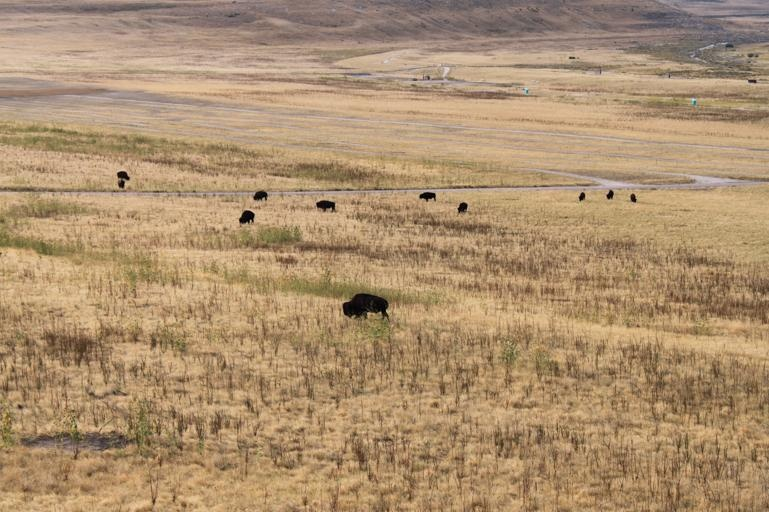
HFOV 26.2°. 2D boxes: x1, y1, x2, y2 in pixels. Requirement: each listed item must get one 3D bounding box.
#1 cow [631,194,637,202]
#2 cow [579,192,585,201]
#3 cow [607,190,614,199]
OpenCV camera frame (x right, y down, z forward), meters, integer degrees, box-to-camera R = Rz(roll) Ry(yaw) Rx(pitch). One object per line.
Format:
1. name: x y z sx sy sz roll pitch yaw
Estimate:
1. cow: 59.546 -13.842 395.914 1.669 1.757 2.833 4 17 4
2. cow: 47.338 -14.210 396.750 1.447 1.727 2.956 10 19 21
3. cow: 54.163 -14.656 397.370 1.623 1.919 2.821 6 18 10
